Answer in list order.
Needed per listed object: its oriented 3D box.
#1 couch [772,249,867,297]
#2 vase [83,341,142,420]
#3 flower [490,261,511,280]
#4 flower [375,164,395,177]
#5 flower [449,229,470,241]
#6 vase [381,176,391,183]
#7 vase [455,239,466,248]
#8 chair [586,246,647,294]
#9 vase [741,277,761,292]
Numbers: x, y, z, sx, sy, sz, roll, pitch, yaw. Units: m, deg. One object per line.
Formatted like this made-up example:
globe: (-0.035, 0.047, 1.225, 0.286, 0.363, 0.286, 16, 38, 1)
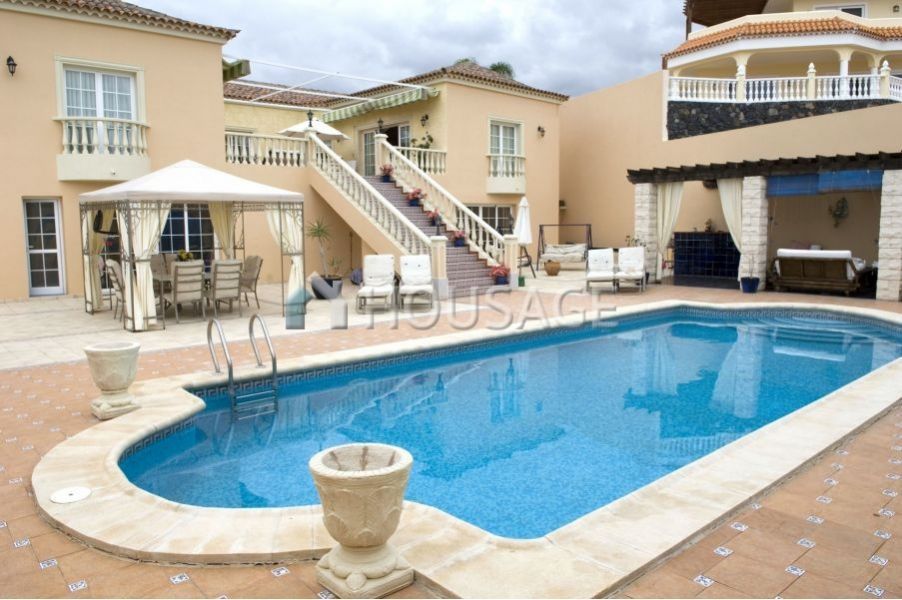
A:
couch: (9.297, -0.682, 16.507, 1.814, 1.023, 1.836, 4, 0, 37)
vase: (-4.160, 0.987, 7.995, 0.646, 0.908, 0.427, -5, 8, -13)
flower: (1.280, -0.815, 17.478, 0.469, 0.295, 0.450, -1, 1, -10)
flower: (-2.052, -4.053, 20.060, 0.320, 0.425, 0.574, -9, 9, -41)
flower: (0.217, -1.863, 18.201, 0.371, 0.235, 0.359, 0, -1, -8)
vase: (-2.037, -3.790, 20.076, 0.249, 0.167, 0.239, 0, -2, -15)
vase: (0.246, -1.635, 18.068, 0.211, 0.147, 0.203, -1, 3, -14)
chair: (4.367, -0.904, 17.112, 1.532, 0.994, 1.495, 0, 4, 14)
vase: (7.698, -0.420, 16.670, 0.434, 0.309, 0.406, 0, -2, 12)
